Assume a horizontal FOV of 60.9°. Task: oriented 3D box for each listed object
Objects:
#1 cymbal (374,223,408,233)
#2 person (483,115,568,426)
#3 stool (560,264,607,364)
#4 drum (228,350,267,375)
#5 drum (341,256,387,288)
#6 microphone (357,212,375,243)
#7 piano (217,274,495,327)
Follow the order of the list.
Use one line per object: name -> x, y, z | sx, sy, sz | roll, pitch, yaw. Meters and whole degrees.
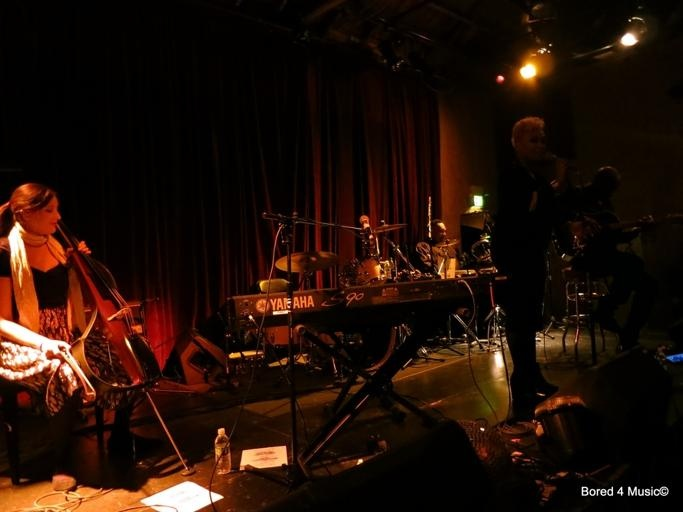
cymbal -> 0.579, -0.349, 7.028 | 0.283, 0.074, 0.267 | -5, 2, -30
person -> 1.366, 0.059, 4.366 | 0.693, 2.218, 0.412 | -3, -7, -20
stool -> 2.608, 0.632, 6.230 | 0.432, 0.840, 0.457 | 2, -7, -9
drum -> -0.992, 1.093, 5.971 | 0.237, 0.095, 0.373 | -1, 0, -29
drum -> 0.205, 0.168, 5.874 | 0.280, 0.141, 0.382 | -6, -6, -14
microphone -> 0.257, -0.327, 6.549 | 0.219, 0.255, 0.748 | 22, 4, -5
piano -> 0.363, 0.404, 4.010 | 1.923, 0.292, 0.626 | -7, -22, 45
